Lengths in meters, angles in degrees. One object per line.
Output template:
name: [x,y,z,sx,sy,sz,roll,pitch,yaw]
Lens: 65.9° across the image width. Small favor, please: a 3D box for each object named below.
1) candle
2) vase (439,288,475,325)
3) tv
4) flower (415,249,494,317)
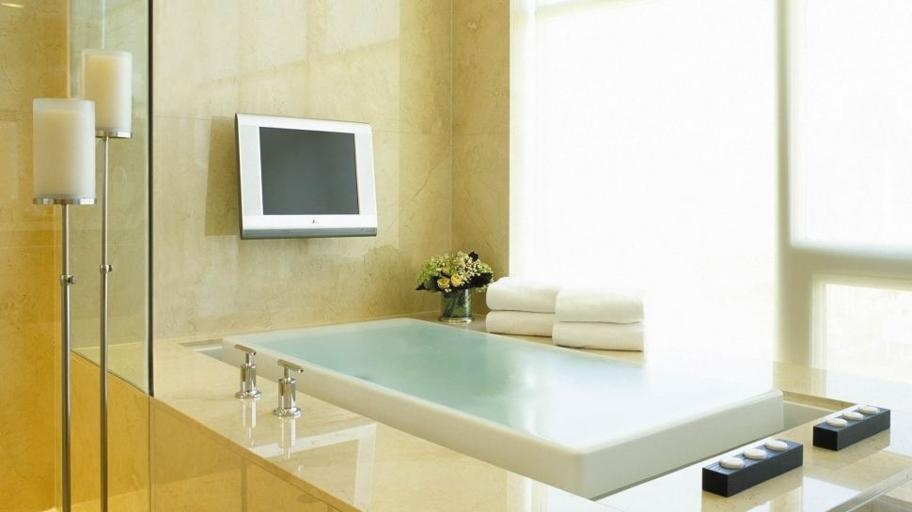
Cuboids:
candle: [-1.325,-0.462,2.468,0.220,0.552,0.330,2,8,11]
vase: [-0.001,0.260,3.650,0.184,0.193,0.187,1,-1,-15]
tv: [-0.758,-0.385,3.400,0.760,0.530,0.083,0,-4,-35]
flower: [0.017,0.134,3.684,0.388,0.303,0.368,-2,4,-34]
